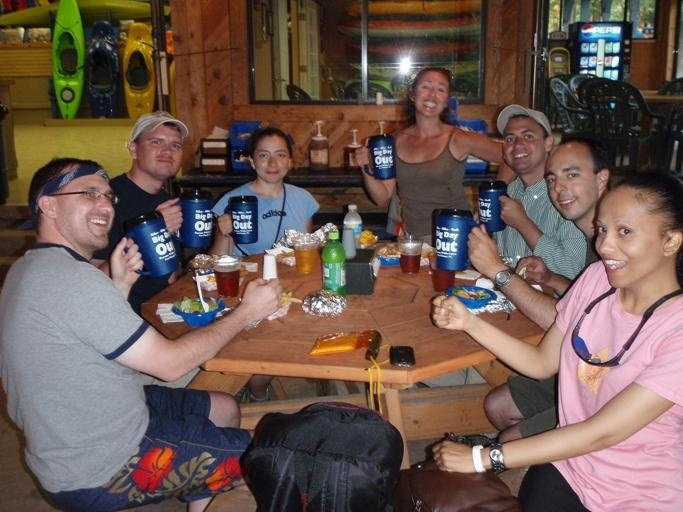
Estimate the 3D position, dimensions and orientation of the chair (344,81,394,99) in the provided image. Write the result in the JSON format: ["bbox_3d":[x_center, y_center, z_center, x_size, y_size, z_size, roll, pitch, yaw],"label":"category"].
[{"bbox_3d":[0.282,-1.845,5.772,0.381,0.118,0.258,3,22,7],"label":"chair"}]

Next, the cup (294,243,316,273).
[{"bbox_3d":[-0.166,0.009,2.566,0.141,0.135,0.132,0,14,0],"label":"cup"}]

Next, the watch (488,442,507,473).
[{"bbox_3d":[0.473,0.611,1.577,0.058,0.082,0.079,-4,41,18],"label":"watch"}]

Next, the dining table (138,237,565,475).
[{"bbox_3d":[0.099,0.351,2.344,1.319,0.687,1.100,-1,32,1],"label":"dining table"}]

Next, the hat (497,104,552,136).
[{"bbox_3d":[1.065,-0.802,2.970,0.332,0.097,0.214,19,-13,-39],"label":"hat"}]

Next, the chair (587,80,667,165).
[{"bbox_3d":[3.123,-1.244,5.357,0.605,0.872,0.686,-15,25,-32],"label":"chair"}]

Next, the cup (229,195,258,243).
[{"bbox_3d":[-0.471,-0.175,2.537,0.171,0.206,0.155,1,6,4],"label":"cup"}]

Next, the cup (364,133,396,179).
[{"bbox_3d":[0.224,-0.560,2.945,0.151,0.246,0.111,3,13,21],"label":"cup"}]

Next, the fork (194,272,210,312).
[{"bbox_3d":[-0.576,0.140,2.127,0.064,0.045,0.285,-21,39,0],"label":"fork"}]

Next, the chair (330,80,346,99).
[{"bbox_3d":[0.000,-1.853,5.842,0.185,0.207,0.192,-4,25,5],"label":"chair"}]

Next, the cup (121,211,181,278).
[{"bbox_3d":[-0.775,-0.037,2.072,0.256,0.221,0.141,-11,5,6],"label":"cup"}]

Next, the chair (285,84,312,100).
[{"bbox_3d":[-0.462,-1.786,5.679,0.272,0.216,0.239,-2,11,-6],"label":"chair"}]

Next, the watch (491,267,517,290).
[{"bbox_3d":[0.630,0.085,2.012,0.089,0.050,0.088,-35,-22,32],"label":"watch"}]

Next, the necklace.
[{"bbox_3d":[0.903,0.243,1.654,0.276,0.063,0.219,-43,21,-13],"label":"necklace"}]

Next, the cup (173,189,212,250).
[{"bbox_3d":[-0.748,-0.167,2.418,0.275,0.238,0.168,0,5,-34],"label":"cup"}]
